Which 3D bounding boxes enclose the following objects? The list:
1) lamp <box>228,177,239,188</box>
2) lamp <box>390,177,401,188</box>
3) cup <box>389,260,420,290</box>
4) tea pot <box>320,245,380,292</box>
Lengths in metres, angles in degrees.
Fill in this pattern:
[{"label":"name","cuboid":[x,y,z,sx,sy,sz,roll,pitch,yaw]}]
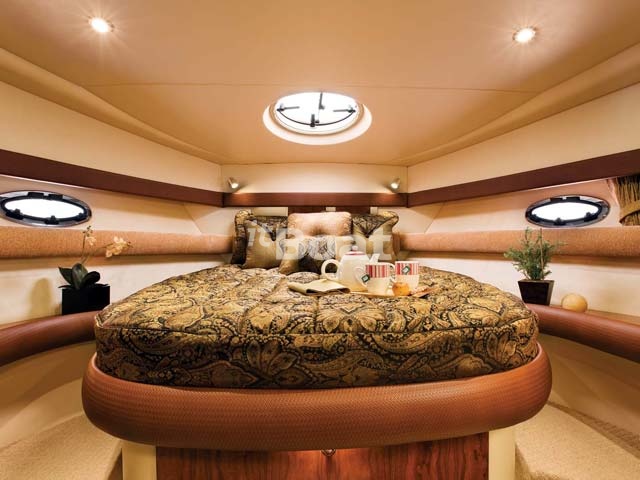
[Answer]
[{"label":"lamp","cuboid":[-0.986,-0.641,4.592,0.094,0.103,0.063,-23,-20,-16]},{"label":"lamp","cuboid":[0.888,-0.659,4.697,0.102,0.115,0.121,21,-28,19]},{"label":"cup","cuboid":[0.501,0.215,2.503,0.149,0.156,0.186,1,-6,-4]},{"label":"tea pot","cuboid":[0.159,0.200,2.607,0.392,0.235,0.229,-2,-3,-6]}]
